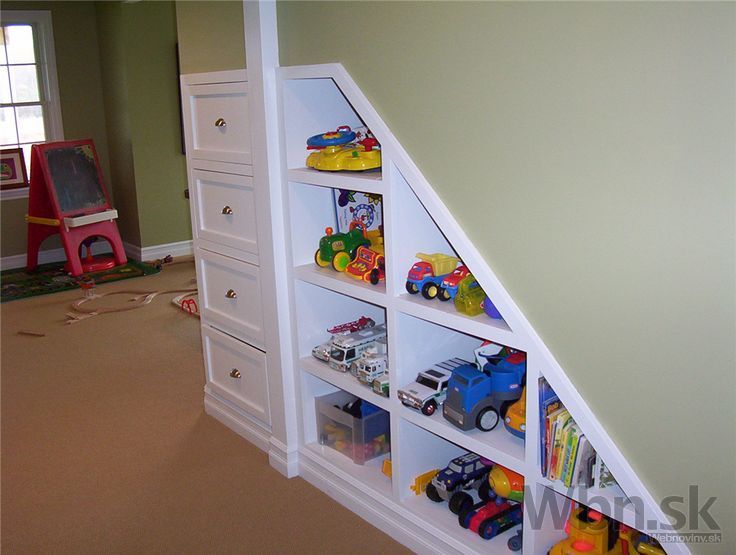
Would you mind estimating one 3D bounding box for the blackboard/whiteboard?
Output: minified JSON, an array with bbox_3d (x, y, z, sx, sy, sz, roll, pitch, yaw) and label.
[{"bbox_3d":[-2.568,-0.861,4.883,0.514,0.584,0.348,-17,27,-39],"label":"blackboard/whiteboard"}]
